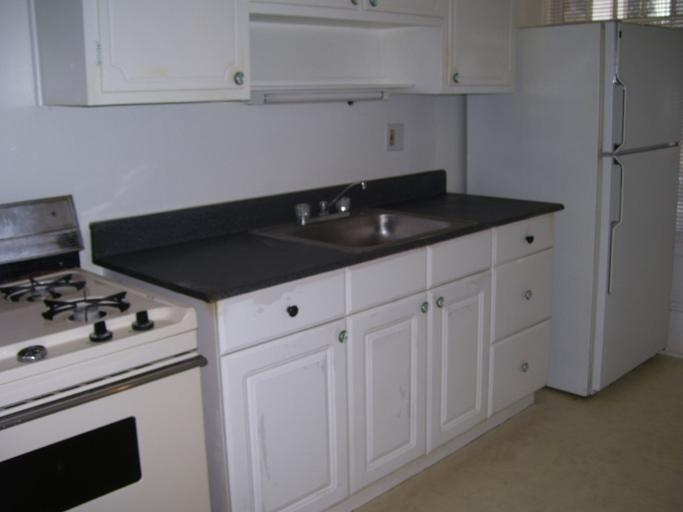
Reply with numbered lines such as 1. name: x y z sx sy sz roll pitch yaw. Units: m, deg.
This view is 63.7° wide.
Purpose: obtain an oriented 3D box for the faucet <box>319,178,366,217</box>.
1. faucet: 0.026 -0.306 2.724 0.097 0.154 0.366 15 29 42
